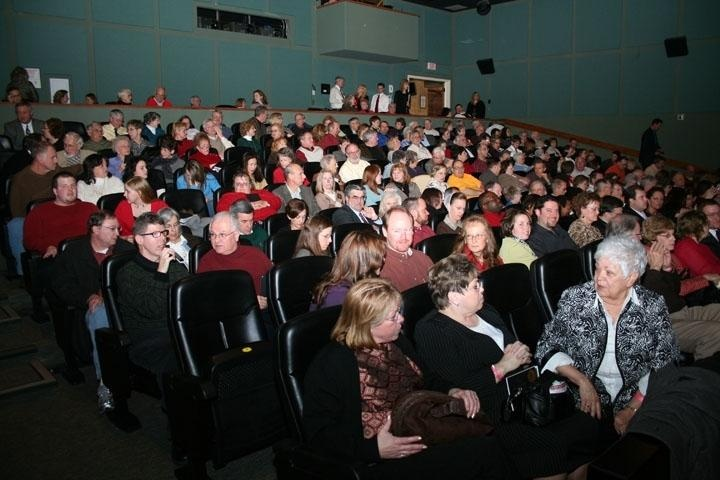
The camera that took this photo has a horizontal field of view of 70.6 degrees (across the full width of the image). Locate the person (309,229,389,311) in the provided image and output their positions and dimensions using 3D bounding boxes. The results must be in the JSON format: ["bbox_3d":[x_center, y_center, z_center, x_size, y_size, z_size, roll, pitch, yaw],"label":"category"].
[{"bbox_3d":[0.019,0.219,3.315,0.533,0.702,0.438,2,-2,-38],"label":"person"}]

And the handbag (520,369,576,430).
[{"bbox_3d":[1.122,0.937,3.141,0.346,0.288,0.239,-15,18,-37],"label":"handbag"}]

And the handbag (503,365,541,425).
[{"bbox_3d":[0.970,0.945,3.047,0.328,0.298,0.123,-4,-1,-42],"label":"handbag"}]

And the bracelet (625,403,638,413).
[{"bbox_3d":[1.685,1.038,3.154,0.055,0.017,0.058,-23,-5,34],"label":"bracelet"}]

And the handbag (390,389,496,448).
[{"bbox_3d":[0.424,0.942,2.830,0.378,0.157,0.312,-2,-4,-21],"label":"handbag"}]

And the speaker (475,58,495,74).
[{"bbox_3d":[3.933,-5.450,15.933,0.642,0.481,0.189,14,21,38],"label":"speaker"}]
